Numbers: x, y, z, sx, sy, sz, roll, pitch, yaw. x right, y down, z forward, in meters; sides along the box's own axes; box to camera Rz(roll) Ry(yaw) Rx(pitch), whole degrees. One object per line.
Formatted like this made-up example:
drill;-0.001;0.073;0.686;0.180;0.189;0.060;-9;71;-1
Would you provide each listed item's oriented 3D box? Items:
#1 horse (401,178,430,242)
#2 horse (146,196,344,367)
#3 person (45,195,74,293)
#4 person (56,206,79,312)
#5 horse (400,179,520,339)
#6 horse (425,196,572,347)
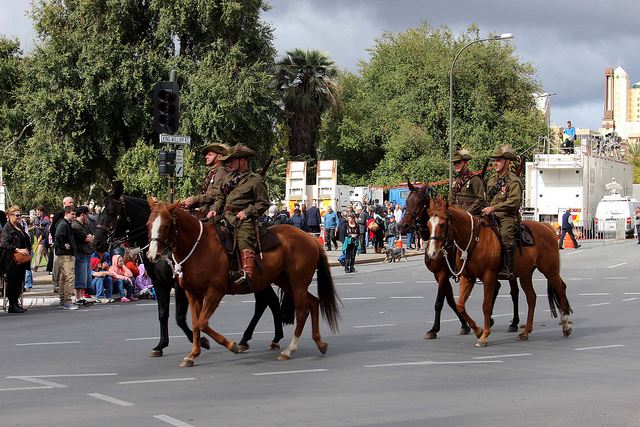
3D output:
horse;2.588;-0.076;28.983;0.799;1.274;0.567;-3;-1;5
horse;-1.917;1.872;28.203;6.439;3.976;1.759;3;-8;-41
person;-8.438;1.282;35.464;1.035;2.792;1.162;7;2;-20
person;-7.976;1.384;33.582;0.624;3.294;0.560;-3;-2;-11
horse;3.840;1.403;30.599;1.686;4.186;5.687;-2;6;19
horse;5.064;1.687;29.868;6.059;3.811;1.505;4;-10;-41
